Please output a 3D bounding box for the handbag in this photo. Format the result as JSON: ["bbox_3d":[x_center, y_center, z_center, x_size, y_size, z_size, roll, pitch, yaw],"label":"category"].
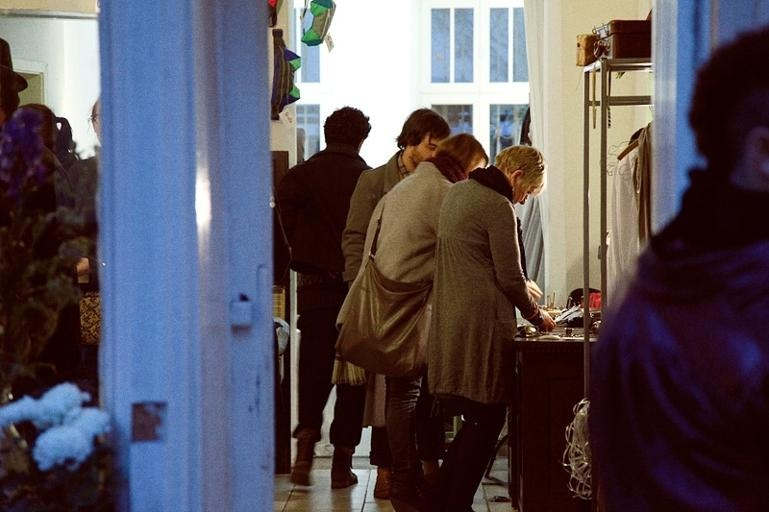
[{"bbox_3d":[0.040,0.240,3.474,0.470,0.562,0.305,4,-1,20],"label":"handbag"}]

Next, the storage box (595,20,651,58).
[{"bbox_3d":[0.929,-0.828,3.360,0.187,0.134,0.267,-2,10,1],"label":"storage box"}]

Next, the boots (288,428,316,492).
[{"bbox_3d":[-0.398,0.983,4.192,0.091,0.264,0.258,3,0,3],"label":"boots"}]

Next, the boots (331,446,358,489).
[{"bbox_3d":[-0.192,1.028,4.273,0.095,0.212,0.213,1,-5,18],"label":"boots"}]
